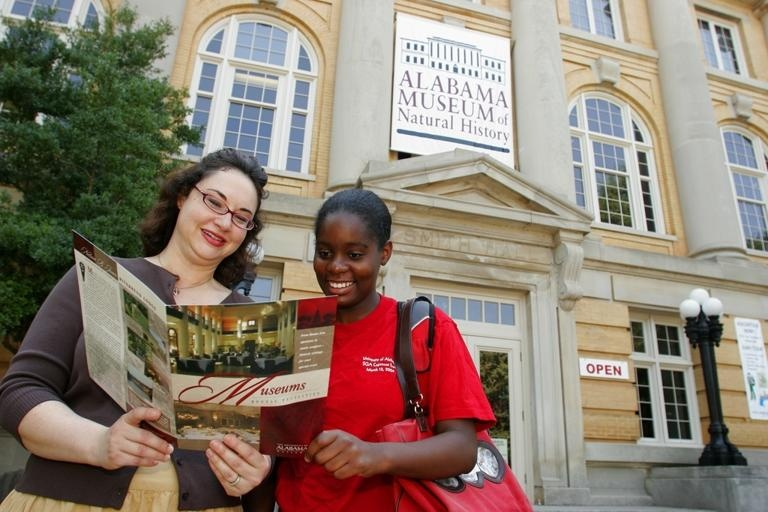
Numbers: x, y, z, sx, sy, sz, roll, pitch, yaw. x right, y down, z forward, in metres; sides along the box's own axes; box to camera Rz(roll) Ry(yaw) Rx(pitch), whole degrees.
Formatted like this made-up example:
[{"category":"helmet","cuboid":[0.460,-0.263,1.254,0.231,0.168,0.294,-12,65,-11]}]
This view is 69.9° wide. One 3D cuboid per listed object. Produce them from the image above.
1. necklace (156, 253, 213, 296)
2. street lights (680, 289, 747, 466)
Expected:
[{"category":"necklace","cuboid":[-1.362,0.124,3.691,0.171,0.187,0.182,33,10,-24]},{"category":"street lights","cuboid":[5.884,2.143,9.882,0.802,3.197,0.878,-6,-18,37]}]
